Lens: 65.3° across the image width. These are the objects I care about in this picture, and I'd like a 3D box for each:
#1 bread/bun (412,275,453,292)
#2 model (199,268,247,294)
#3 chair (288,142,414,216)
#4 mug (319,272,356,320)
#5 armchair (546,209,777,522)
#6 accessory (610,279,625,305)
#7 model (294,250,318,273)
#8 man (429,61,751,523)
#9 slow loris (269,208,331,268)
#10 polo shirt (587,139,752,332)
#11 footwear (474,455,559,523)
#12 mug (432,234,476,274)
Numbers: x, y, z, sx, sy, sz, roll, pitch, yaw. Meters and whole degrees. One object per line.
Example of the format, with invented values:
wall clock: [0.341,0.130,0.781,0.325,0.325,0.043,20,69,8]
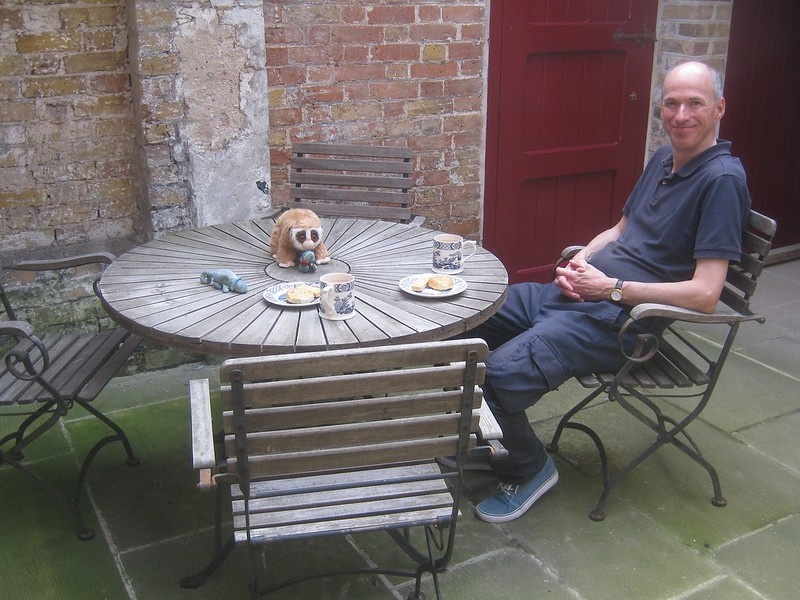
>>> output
bread/bun: [0.143,-0.081,2.593,0.083,0.029,0.120,-16,19,-42]
model: [-0.733,-0.081,2.609,0.166,0.061,0.111,22,11,21]
chair: [-0.292,-0.724,3.839,0.713,0.469,0.536,-1,20,-2]
mug: [-0.229,-0.015,2.391,0.118,0.135,0.179,6,21,16]
armchair: [1.209,0.297,3.137,0.827,1.259,0.896,-2,7,-2]
accessory: [0.958,-0.030,2.759,0.056,0.094,0.090,14,27,6]
model: [-0.408,-0.159,2.740,0.077,0.093,0.098,4,-18,-11]
man: [0.905,-0.060,3.040,1.355,1.930,0.987,-3,18,-14]
slow loris: [-0.467,-0.290,2.862,0.236,0.244,0.309,-9,23,-28]
polo shirt: [1.269,-0.406,2.856,0.536,0.613,0.639,-18,27,-41]
footwear: [0.541,0.925,2.966,0.447,0.179,0.190,-31,23,-16]
mug: [0.225,-0.209,2.868,0.245,0.177,0.158,2,13,6]
